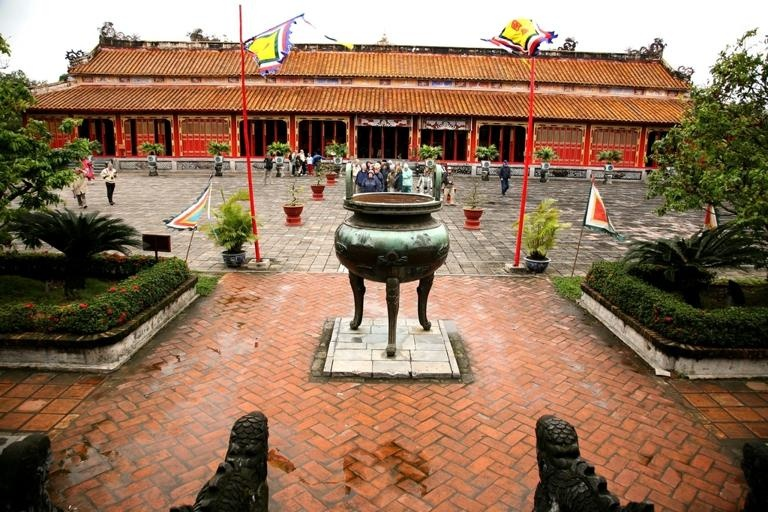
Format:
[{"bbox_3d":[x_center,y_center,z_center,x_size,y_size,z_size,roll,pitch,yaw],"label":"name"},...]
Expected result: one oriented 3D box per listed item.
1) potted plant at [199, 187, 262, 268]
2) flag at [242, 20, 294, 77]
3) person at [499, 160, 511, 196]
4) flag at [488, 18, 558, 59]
[{"bbox_3d":[-3.440,-0.595,11.340,1.055,1.662,0.616,0,12,-11],"label":"potted plant"},{"bbox_3d":[-2.498,-4.530,10.907,1.556,1.131,0.135,-1,-2,21],"label":"flag"},{"bbox_3d":[5.477,-3.529,23.134,0.355,1.478,0.949,4,12,8],"label":"person"},{"bbox_3d":[2.761,-4.373,10.168,0.606,0.783,1.088,-5,13,-31],"label":"flag"}]
